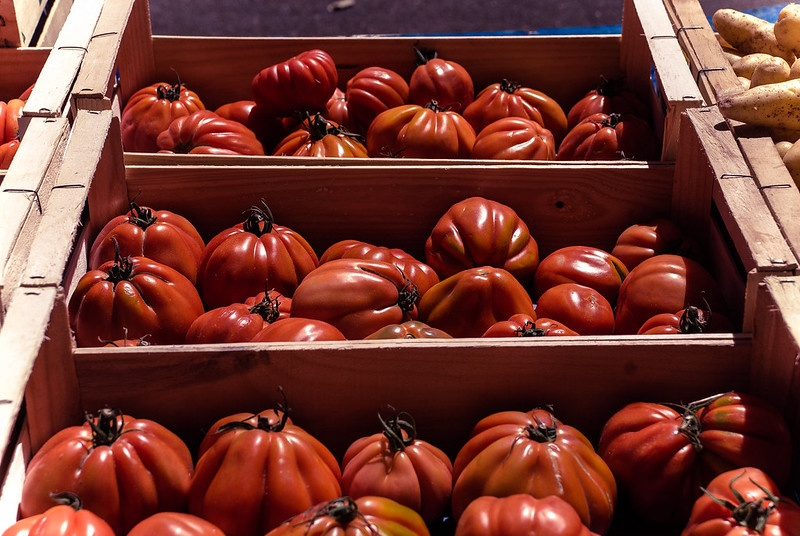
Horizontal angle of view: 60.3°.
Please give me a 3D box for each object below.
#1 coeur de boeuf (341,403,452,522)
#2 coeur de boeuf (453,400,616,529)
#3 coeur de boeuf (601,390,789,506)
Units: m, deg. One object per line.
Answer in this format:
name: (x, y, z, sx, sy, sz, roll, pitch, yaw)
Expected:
coeur de boeuf: (0.029, 0.607, 1.994, 0.272, 0.260, 0.275, -2, 6, -19)
coeur de boeuf: (0.369, 0.535, 1.878, 0.341, 0.282, 0.348, 19, 14, 41)
coeur de boeuf: (0.819, 0.492, 1.916, 0.348, 0.235, 0.352, -1, 7, 30)
